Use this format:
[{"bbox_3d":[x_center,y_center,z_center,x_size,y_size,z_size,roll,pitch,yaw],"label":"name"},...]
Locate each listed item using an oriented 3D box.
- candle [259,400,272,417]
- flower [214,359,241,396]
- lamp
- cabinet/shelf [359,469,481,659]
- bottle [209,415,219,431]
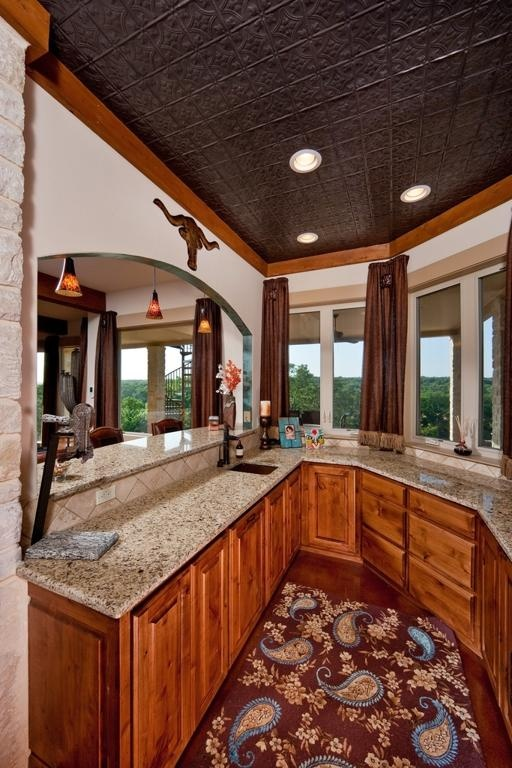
[{"bbox_3d":[0.083,0.181,3.718,0.093,0.176,0.109,-1,-3,14],"label":"candle"},{"bbox_3d":[-0.173,-0.035,3.432,0.238,0.294,0.250,4,-4,-23],"label":"flower"},{"bbox_3d":[-0.860,-0.673,3.972,1.282,0.664,1.994,-4,11,-18],"label":"lamp"},{"bbox_3d":[0.802,0.909,2.561,0.461,0.704,0.963,2,-4,-1],"label":"cabinet/shelf"},{"bbox_3d":[-0.314,0.285,3.557,0.079,0.134,0.088,0,-4,9],"label":"bottle"}]
